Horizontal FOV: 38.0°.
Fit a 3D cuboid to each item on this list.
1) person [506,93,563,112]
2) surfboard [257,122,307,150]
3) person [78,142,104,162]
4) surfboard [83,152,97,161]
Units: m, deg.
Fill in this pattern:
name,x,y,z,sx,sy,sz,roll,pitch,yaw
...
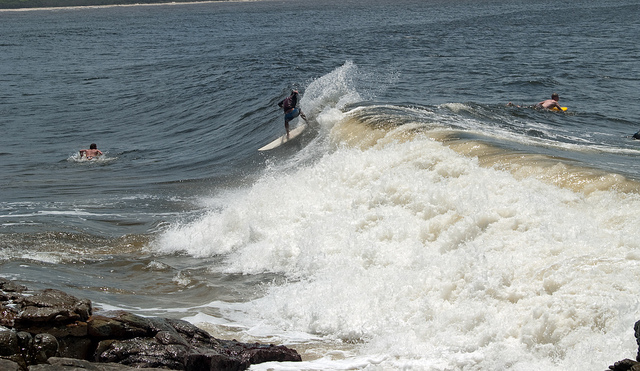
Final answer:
name,x,y,z,sx,sy,sz,roll,pitch,yaw
person,10.959,-4.265,47.951,2.366,0.653,1.055,-2,36,-7
surfboard,-1.828,-2.501,46.581,3.522,0.215,0.468,-22,43,21
person,-11.626,-1.721,47.402,1.165,0.603,1.791,5,29,-8
surfboard,-11.471,-1.486,46.738,0.459,0.123,0.477,46,20,20
